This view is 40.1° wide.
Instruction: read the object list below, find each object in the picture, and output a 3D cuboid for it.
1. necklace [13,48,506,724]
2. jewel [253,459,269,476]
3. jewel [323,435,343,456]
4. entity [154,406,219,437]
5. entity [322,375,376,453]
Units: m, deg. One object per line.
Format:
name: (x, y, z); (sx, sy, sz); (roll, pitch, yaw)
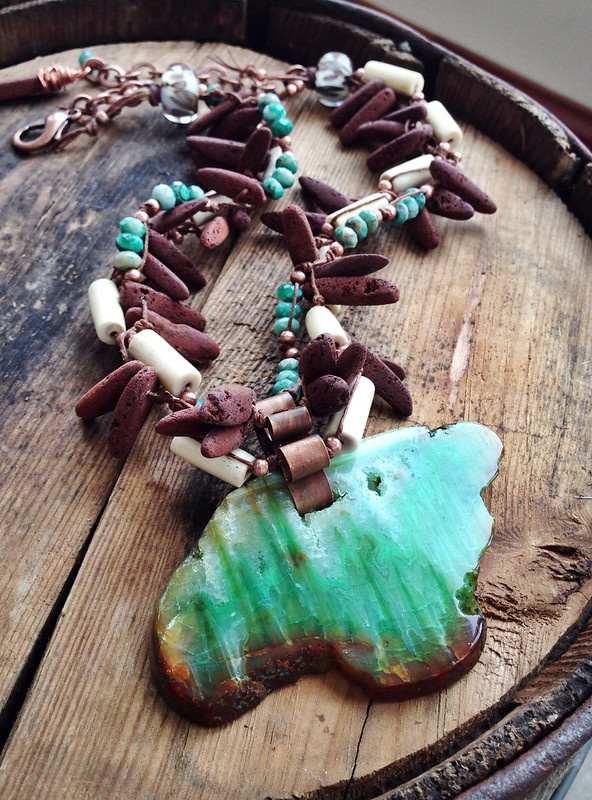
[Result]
necklace: (0.034, -0.065, 1.103); (0.565, 0.147, 0.846); (0, 45, 0)
jewel: (-0.043, 0.083, 0.992); (0.021, 0.011, 0.018); (-19, 75, -12)
jewel: (0.047, 0.058, 1.016); (0.028, 0.020, 0.019); (-9, 40, -20)
entity: (-0.132, 0.026, 0.977); (0.069, 0.033, 0.020); (0, 44, -23)
entity: (0.069, 0.025, 1.070); (0.052, 0.041, 0.094); (-1, 43, 17)
